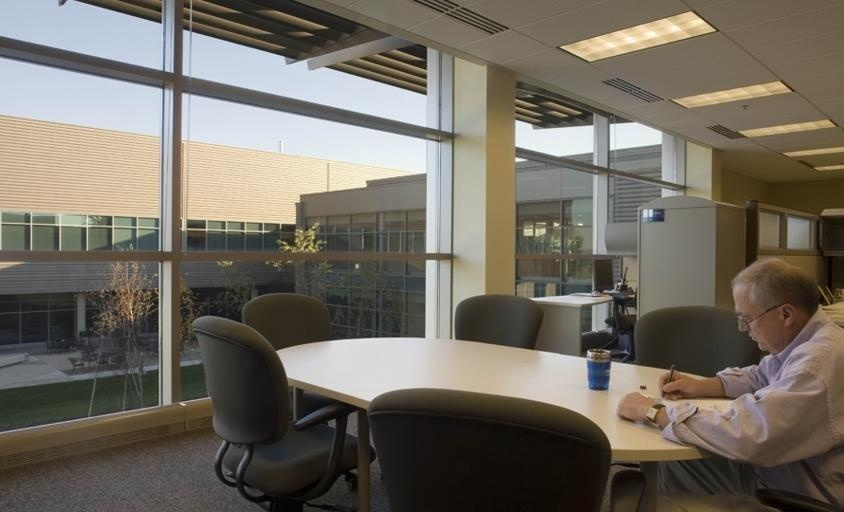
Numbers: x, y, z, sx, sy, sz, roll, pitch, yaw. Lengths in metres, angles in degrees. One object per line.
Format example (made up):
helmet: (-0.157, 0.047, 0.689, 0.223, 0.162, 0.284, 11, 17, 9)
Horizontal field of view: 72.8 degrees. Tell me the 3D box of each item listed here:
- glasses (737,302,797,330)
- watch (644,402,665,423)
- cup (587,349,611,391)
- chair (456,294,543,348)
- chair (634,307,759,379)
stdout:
glasses: (1.895, 0.366, 3.223, 0.175, 0.049, 0.174, -24, -13, 38)
watch: (1.268, 0.864, 3.140, 0.070, 0.112, 0.123, 14, 1, 40)
cup: (1.082, 0.691, 3.521, 0.140, 0.230, 0.197, 3, 15, 16)
chair: (0.653, 0.508, 4.870, 0.539, 0.750, 0.529, -1, -4, 28)
chair: (1.958, 0.591, 4.141, 0.544, 0.660, 0.594, -7, -3, 25)
